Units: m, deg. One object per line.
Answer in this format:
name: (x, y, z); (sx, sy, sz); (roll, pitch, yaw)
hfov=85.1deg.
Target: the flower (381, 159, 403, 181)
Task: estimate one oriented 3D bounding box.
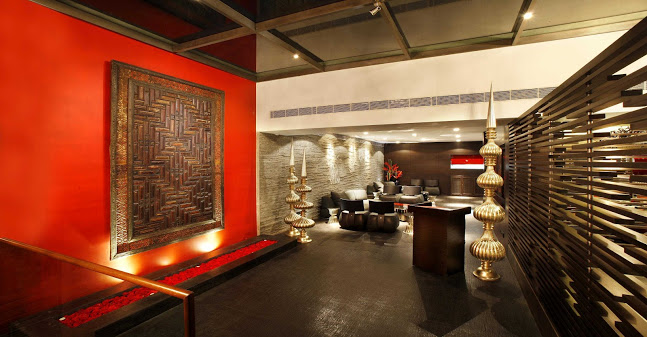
flower: (3.329, 0.075, 17.046); (0.937, 1.044, 0.348); (1, 2, 13)
